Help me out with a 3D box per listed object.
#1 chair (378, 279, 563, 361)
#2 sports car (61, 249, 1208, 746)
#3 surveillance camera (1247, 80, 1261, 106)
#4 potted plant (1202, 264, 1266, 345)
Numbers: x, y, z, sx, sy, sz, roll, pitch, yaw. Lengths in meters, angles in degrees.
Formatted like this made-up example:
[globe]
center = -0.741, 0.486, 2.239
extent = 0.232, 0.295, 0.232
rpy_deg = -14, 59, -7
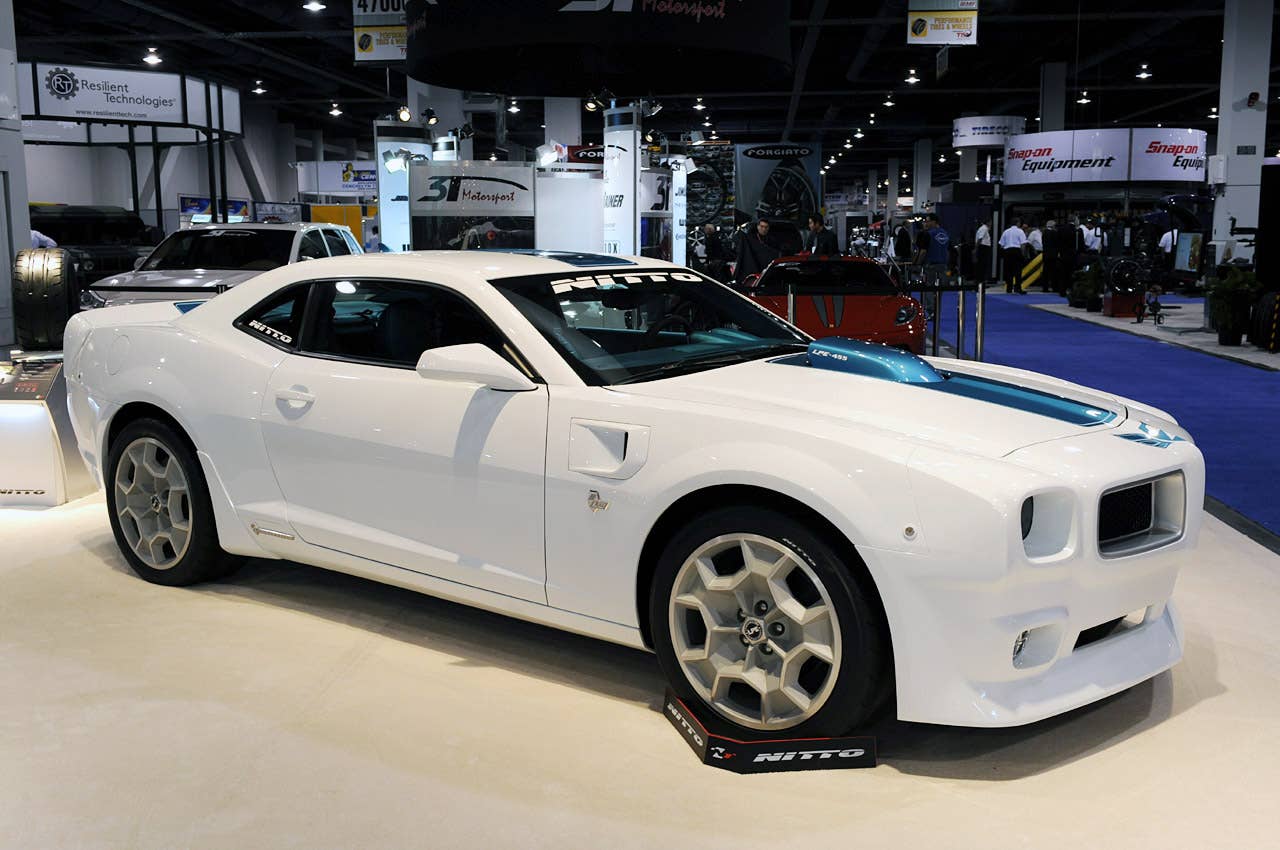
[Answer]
[chair]
center = -0.989, -0.482, 4.046
extent = 0.577, 0.263, 0.469
rpy_deg = 12, 14, 6
[sports car]
center = -0.501, 0.046, 4.403
extent = 5.816, 1.835, 2.160
rpy_deg = 8, 16, 30
[surveillance camera]
center = 13.399, -7.147, 18.450
extent = 0.282, 0.398, 0.106
rpy_deg = 2, 15, 8
[potted plant]
center = 9.525, -1.914, 13.542
extent = 0.736, 1.196, 2.000
rpy_deg = 9, 17, 32
